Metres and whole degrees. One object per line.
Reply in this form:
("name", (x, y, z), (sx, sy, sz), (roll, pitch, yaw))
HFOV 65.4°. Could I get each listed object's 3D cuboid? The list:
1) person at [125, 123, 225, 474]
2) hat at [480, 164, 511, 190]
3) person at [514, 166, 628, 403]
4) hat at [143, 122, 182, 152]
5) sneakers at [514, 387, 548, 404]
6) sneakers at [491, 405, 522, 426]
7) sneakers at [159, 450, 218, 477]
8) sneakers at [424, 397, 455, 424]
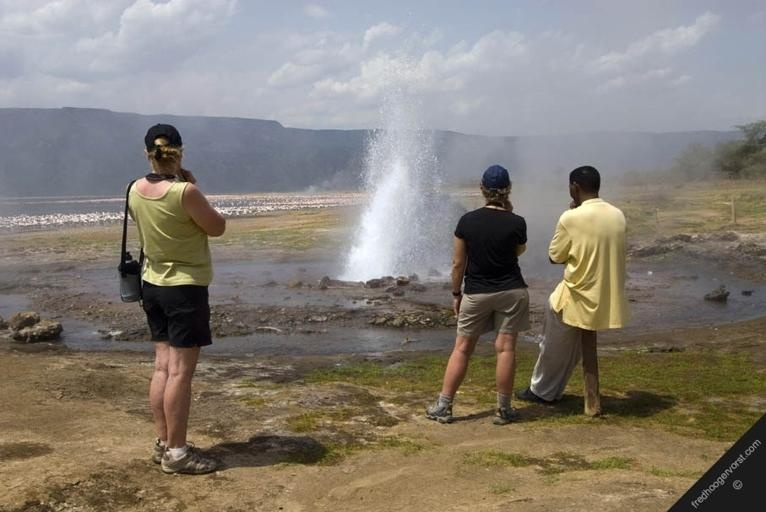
("person", (-1.804, 0.379, 5.240), (0.800, 3.034, 0.296), (0, 3, 17))
("hat", (1.190, -0.825, 6.239), (0.305, 0.267, 0.275), (0, 2, 3))
("person", (2.119, 0.381, 6.548), (0.820, 2.705, 0.899), (-1, 3, -17))
("hat", (-1.924, -1.076, 5.187), (0.282, 0.189, 0.342), (-6, -9, -14))
("sneakers", (1.743, 1.649, 7.087), (0.385, 0.129, 0.141), (11, 12, 36))
("sneakers", (1.332, 1.706, 6.390), (0.146, 0.128, 0.333), (4, 9, 39))
("sneakers", (-1.690, 1.807, 5.207), (0.481, 0.172, 0.204), (2, 2, -11))
("sneakers", (0.640, 1.691, 6.600), (0.193, 0.242, 0.413), (0, 5, -37))
